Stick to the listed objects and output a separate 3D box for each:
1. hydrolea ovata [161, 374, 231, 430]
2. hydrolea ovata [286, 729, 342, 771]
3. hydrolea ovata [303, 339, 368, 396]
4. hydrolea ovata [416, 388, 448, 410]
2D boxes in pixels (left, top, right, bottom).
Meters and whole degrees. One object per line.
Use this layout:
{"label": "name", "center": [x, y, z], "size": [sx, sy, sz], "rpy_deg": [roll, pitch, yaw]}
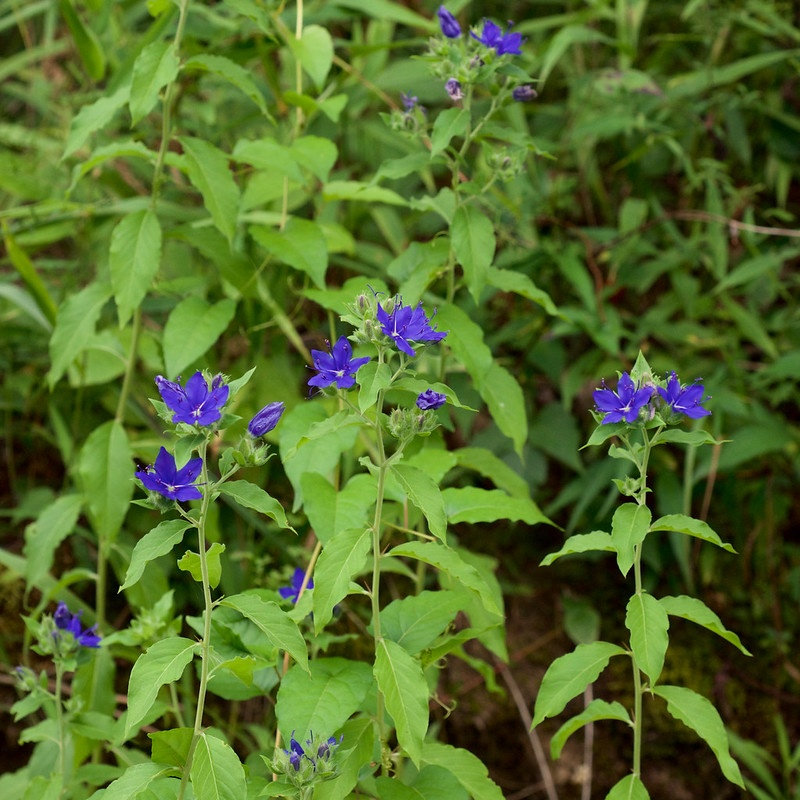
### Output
{"label": "hydrolea ovata", "center": [-0.373, -0.012, 1.458], "size": [0.108, 0.045, 0.102], "rpy_deg": [-29, 73, -18]}
{"label": "hydrolea ovata", "center": [-0.164, 0.681, 1.566], "size": [0.087, 0.050, 0.076], "rpy_deg": [-6, 19, -33]}
{"label": "hydrolea ovata", "center": [-0.113, -0.071, 1.553], "size": [0.109, 0.128, 0.118], "rpy_deg": [1, 51, 0]}
{"label": "hydrolea ovata", "center": [0.064, 0.000, 1.597], "size": [0.047, 0.023, 0.042], "rpy_deg": [-28, 88, -14]}
